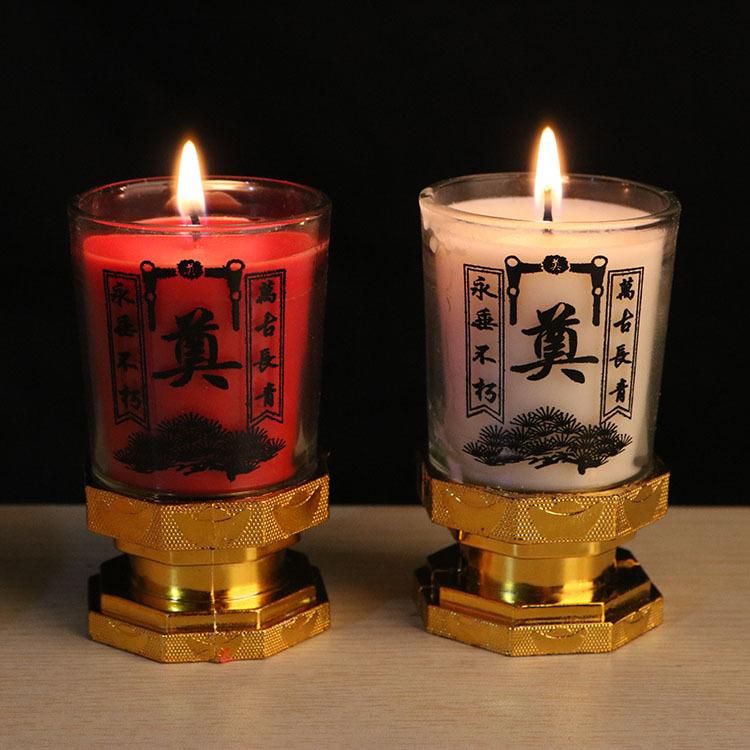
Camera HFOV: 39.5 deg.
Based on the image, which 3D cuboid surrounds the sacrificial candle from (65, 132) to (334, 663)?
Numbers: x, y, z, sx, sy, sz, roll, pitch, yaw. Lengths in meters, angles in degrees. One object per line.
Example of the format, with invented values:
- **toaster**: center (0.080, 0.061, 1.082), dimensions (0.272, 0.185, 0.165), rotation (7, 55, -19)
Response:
- **sacrificial candle**: center (-0.113, 0.011, 0.691), dimensions (0.173, 0.319, 0.204), rotation (-1, 24, -2)
